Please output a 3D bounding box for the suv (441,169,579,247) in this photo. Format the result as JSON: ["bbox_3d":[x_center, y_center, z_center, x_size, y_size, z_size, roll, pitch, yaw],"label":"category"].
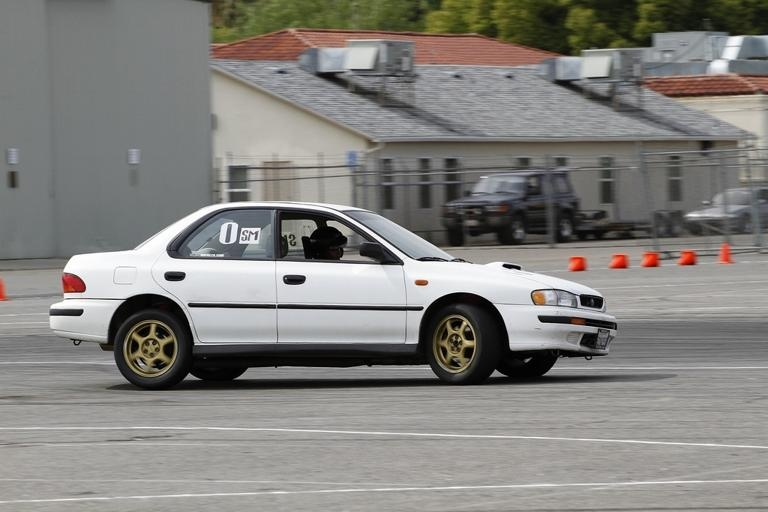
[{"bbox_3d":[3.984,-1.592,36.110,2.693,1.819,4.646,4,8,39],"label":"suv"}]

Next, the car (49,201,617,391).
[{"bbox_3d":[-0.524,0.460,12.936,5.758,1.378,2.369,-1,-1,8],"label":"car"}]

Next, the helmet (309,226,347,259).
[{"bbox_3d":[-0.743,-0.166,12.753,0.572,0.337,0.374,6,4,-20],"label":"helmet"}]
